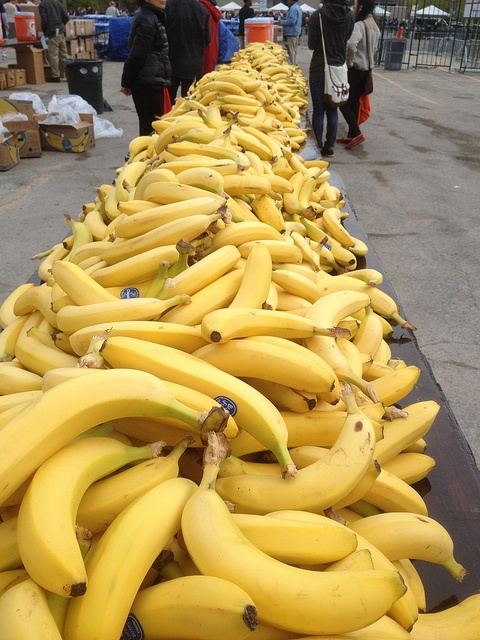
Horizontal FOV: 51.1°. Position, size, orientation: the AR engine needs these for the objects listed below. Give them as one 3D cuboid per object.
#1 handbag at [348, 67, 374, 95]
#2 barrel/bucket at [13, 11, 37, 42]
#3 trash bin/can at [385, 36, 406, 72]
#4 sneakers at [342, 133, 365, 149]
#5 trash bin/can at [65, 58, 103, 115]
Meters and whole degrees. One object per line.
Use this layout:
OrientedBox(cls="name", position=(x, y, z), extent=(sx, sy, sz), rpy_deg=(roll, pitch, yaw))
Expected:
OrientedBox(cls="handbag", position=(1.908, -3.726, 7.806), extent=(0.383, 0.384, 0.520), rpy_deg=(5, -4, 7))
OrientedBox(cls="barrel/bucket", position=(-5.831, -7.997, 13.679), extent=(0.496, 0.739, 0.732), rpy_deg=(-5, 25, -21))
OrientedBox(cls="trash bin/can", position=(6.284, -10.874, 20.549), extent=(0.768, 1.212, 0.834), rpy_deg=(9, 23, 11))
OrientedBox(cls="sneakers", position=(1.961, -3.111, 8.772), extent=(0.180, 0.208, 0.486), rpy_deg=(-43, 21, -2))
OrientedBox(cls="trash bin/can", position=(-3.052, -4.598, 9.877), extent=(0.679, 0.971, 0.788), rpy_deg=(-3, 24, -17))
